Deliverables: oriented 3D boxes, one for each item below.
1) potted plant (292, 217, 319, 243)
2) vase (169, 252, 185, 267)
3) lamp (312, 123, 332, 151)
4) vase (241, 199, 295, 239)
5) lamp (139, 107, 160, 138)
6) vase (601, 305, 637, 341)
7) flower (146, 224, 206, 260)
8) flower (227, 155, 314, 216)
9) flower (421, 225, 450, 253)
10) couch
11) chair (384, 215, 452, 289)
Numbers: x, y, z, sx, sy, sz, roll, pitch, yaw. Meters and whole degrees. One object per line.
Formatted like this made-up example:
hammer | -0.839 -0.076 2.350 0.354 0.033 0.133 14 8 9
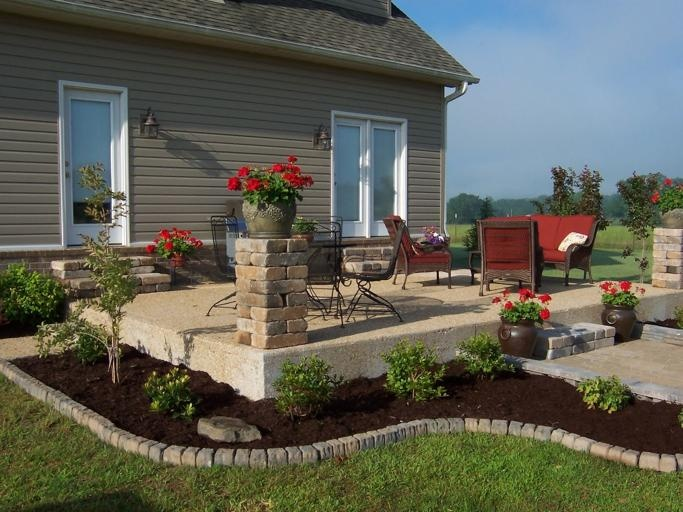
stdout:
potted plant | -0.645 -0.478 9.356 0.647 0.604 0.631 -1 0 -4
vase | -2.598 0.056 8.331 0.241 0.178 0.223 1 2 3
lamp | -0.344 -2.274 9.967 0.443 0.514 0.182 -6 13 -33
vase | -0.654 -0.320 4.637 0.398 0.234 0.359 0 1 -5
lamp | -3.073 -2.140 8.323 0.278 0.466 0.194 -4 12 -23
vase | 3.680 0.881 7.197 0.491 0.498 0.487 0 0 -19
flower | -2.641 -0.245 8.355 0.614 0.392 0.611 2 4 28
flower | -0.743 -0.616 4.835 0.757 0.407 0.743 -6 4 -42
flower | 1.843 -0.355 10.500 0.568 0.246 0.784 2 9 17
couch | 3.965 -0.125 9.388 0.925 1.068 1.562 -4 3 -27
chair | 1.409 -0.100 8.658 1.350 1.365 1.037 0 3 -4
